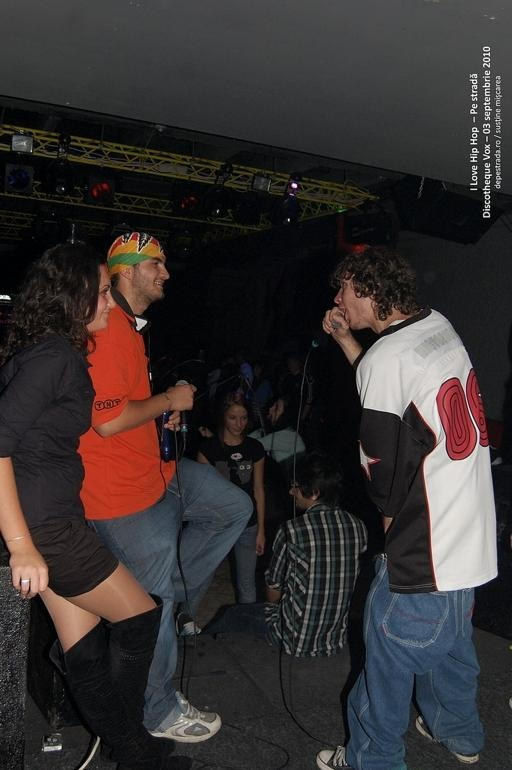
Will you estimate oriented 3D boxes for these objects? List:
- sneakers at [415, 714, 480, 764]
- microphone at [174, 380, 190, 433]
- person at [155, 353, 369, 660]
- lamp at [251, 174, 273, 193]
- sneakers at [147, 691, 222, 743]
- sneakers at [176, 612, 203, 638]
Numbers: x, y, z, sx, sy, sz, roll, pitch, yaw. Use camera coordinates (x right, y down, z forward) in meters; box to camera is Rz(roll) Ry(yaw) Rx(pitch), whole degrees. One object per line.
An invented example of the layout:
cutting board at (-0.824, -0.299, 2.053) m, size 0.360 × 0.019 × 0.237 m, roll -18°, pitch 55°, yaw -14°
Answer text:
sneakers at (0.691, 1.286, 2.283) m, size 0.079 × 0.085 × 0.218 m, roll -24°, pitch 42°, yaw -15°
microphone at (-0.343, 0.100, 2.797) m, size 0.082 × 0.252 × 0.073 m, roll 1°, pitch -31°, yaw 5°
person at (0.181, 0.812, 3.272) m, size 1.012 × 1.146 × 0.910 m, roll 0°, pitch 5°, yaw -35°
lamp at (0.066, -2.347, 7.349) m, size 0.284 × 0.183 × 0.149 m, roll 0°, pitch 16°, yaw -13°
sneakers at (-0.244, 1.190, 2.302) m, size 0.313 × 0.183 × 0.116 m, roll 1°, pitch 11°, yaw -13°
sneakers at (-0.330, 1.167, 3.030) m, size 0.138 × 0.093 × 0.232 m, roll 3°, pitch -16°, yaw -17°
